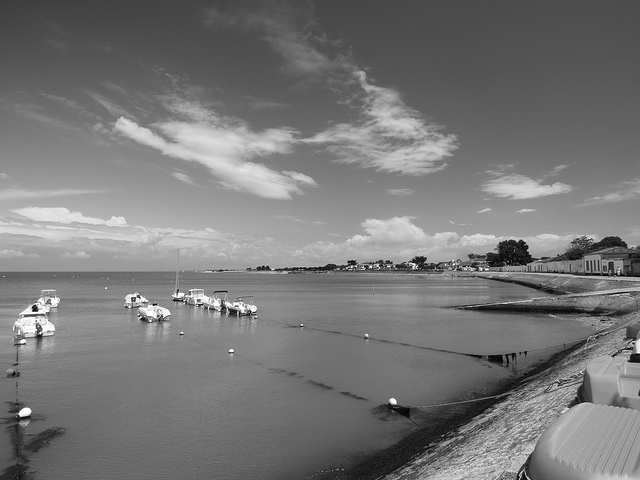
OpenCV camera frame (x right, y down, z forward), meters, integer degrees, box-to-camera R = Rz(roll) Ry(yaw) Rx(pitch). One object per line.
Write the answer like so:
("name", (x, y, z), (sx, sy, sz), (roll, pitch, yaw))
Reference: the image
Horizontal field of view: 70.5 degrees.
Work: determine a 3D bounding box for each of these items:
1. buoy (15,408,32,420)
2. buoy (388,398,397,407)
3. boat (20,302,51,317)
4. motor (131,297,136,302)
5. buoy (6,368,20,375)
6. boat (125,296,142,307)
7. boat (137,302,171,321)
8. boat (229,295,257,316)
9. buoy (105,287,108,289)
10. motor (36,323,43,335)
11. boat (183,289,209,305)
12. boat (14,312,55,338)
("buoy", (-14.874, 8.699, 22.656), (0.724, 0.450, 0.374), (0, -1, -6))
("buoy", (3.774, 8.448, 23.459), (0.364, 0.356, 0.289), (-1, -2, 18))
("boat", (-39.013, 9.548, 62.303), (3.283, 1.707, 5.349), (6, -2, -22))
("motor", (-31.076, 9.996, 75.433), (0.572, 0.691, 0.747), (-1, 4, -20))
("buoy", (-20.208, 8.701, 29.759), (0.528, 0.293, 0.642), (19, -5, 46))
("boat", (-31.157, 10.276, 75.278), (1.945, 1.213, 1.925), (-1, -5, 30))
("boat", (-21.180, 9.475, 58.086), (2.634, 1.477, 4.045), (1, -2, -34))
("boat", (-11.929, 10.231, 70.570), (4.327, 2.846, 5.697), (10, -1, -11))
("buoy", (-69.568, 15.598, 147.101), (0.927, 0.643, 0.941), (10, 10, 44))
("motor", (-26.969, 8.592, 43.465), (0.557, 0.939, 0.362), (-1, -1, 11))
("boat", (-21.879, 10.493, 80.947), (3.699, 2.564, 5.597), (2, -5, -33))
("boat", (-27.767, 8.529, 44.278), (2.653, 1.723, 2.792), (1, -2, -38))
